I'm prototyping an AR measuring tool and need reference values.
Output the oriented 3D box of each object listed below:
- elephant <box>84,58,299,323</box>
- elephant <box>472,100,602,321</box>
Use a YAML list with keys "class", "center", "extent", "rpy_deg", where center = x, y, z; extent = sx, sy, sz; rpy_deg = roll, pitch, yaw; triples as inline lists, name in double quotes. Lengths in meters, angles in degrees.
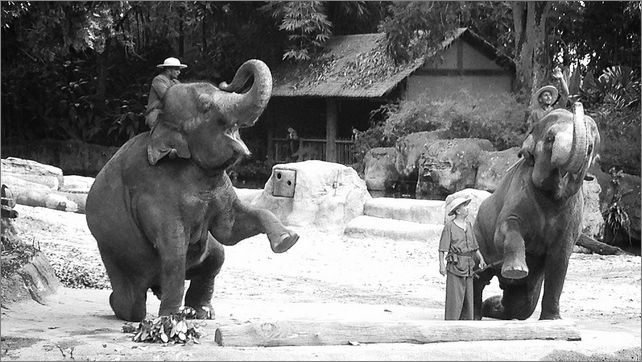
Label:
- class: "elephant"
  center: [-2.645, 0.384, 20.900]
  extent: [5.091, 4.858, 2.433]
  rpy_deg: [-7, -3, 36]
- class: "elephant"
  center: [4.258, 0.709, 20.723]
  extent: [1.625, 5.379, 3.002]
  rpy_deg: [7, 49, -6]
